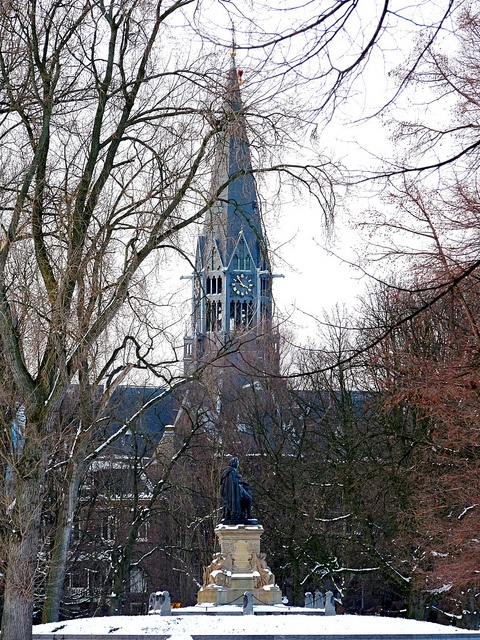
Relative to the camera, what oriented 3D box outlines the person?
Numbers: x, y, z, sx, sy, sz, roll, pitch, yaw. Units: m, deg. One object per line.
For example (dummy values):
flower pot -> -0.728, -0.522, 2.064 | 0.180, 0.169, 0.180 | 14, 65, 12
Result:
person -> -0.074, 3.634, 27.492 | 0.647, 1.639, 0.791 | 2, -21, -10
